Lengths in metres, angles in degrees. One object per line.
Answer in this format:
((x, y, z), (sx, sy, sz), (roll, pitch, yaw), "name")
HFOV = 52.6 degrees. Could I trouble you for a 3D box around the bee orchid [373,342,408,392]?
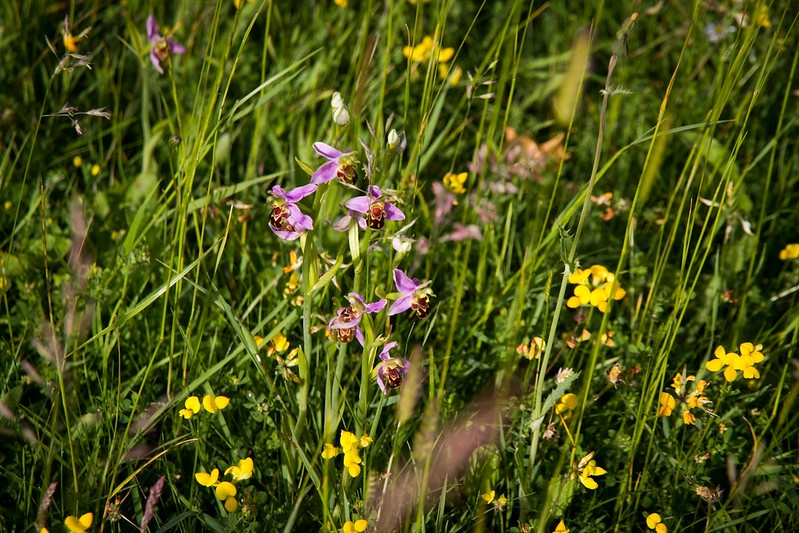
((-0.047, 0.429, 3.459), (0.138, 0.221, 0.128), (-15, 21, -26), "bee orchid")
